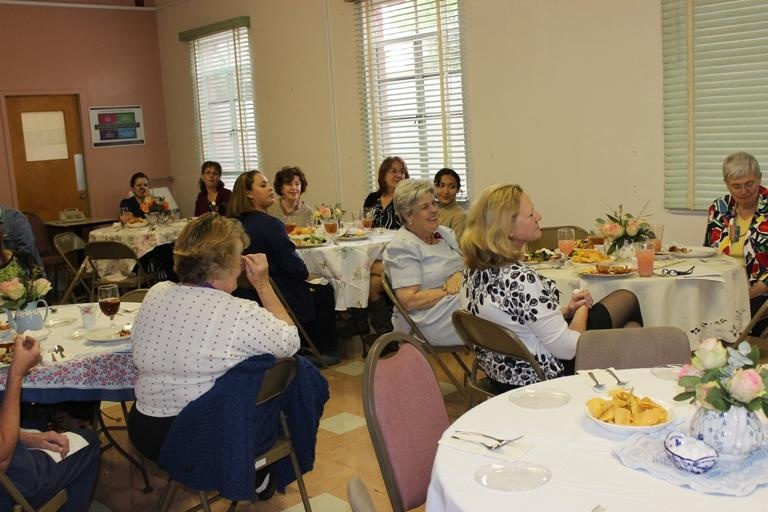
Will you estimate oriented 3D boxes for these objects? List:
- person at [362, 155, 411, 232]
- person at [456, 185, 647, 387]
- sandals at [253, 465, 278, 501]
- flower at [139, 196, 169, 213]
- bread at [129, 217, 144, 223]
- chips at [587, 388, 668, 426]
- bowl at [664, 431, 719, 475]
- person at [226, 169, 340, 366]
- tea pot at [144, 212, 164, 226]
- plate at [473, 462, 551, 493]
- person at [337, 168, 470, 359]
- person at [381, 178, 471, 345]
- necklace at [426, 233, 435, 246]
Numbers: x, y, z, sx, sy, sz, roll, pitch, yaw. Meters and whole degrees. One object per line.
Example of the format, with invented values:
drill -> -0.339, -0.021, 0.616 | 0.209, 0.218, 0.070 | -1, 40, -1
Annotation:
person -> 0.037, -0.605, 5.686 | 0.509, 0.791, 0.434 | 5, -2, 2
person -> 0.794, 0.200, 2.656 | 0.654, 1.187, 0.567 | 4, 10, 41
sandals -> -0.649, 1.159, 2.817 | 0.057, 0.136, 0.157 | 16, 34, -10
flower -> -2.743, -0.583, 6.378 | 0.254, 0.173, 0.248 | 1, -2, -14
bread -> -2.938, -0.401, 6.383 | 0.115, 0.046, 0.113 | -1, 6, -34
chips -> 0.746, 0.442, 1.689 | 0.217, 0.082, 0.173 | 0, 10, -2
bowl -> 0.825, 0.530, 1.441 | 0.122, 0.082, 0.082 | 3, 13, 33
person -> -0.759, 0.117, 4.499 | 0.798, 1.485, 0.749 | 12, 16, 34
tea pot -> -2.682, -0.413, 6.297 | 0.147, 0.124, 0.179 | 1, -2, -16
plate -> 0.351, 0.595, 1.456 | 0.201, 0.015, 0.115 | -2, 10, 9
person -> 0.271, 0.054, 3.601 | 0.540, 1.098, 0.499 | 2, 9, 29
person -> 0.272, 0.073, 3.565 | 0.578, 1.064, 0.451 | 1, 22, 5
necklace -> 0.324, -0.106, 3.686 | 0.053, 0.083, 0.084 | 0, -2, -2
